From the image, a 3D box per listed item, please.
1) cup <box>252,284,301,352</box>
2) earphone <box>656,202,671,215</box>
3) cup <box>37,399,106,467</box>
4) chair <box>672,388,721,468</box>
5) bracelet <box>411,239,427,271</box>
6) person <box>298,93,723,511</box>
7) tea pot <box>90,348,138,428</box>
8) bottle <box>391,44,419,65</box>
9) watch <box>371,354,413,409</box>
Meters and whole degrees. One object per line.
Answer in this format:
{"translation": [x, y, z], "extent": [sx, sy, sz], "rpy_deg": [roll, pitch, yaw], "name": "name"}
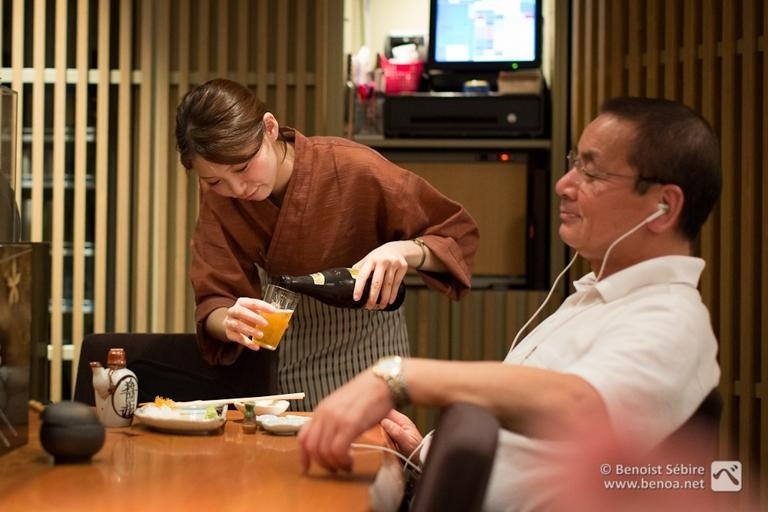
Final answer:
{"translation": [-0.328, 0.176, 2.280], "extent": [0.155, 0.190, 0.076], "rpy_deg": [6, 8, 37], "name": "cup"}
{"translation": [0.721, -0.126, 2.011], "extent": [0.020, 0.029, 0.027], "rpy_deg": [-10, -10, -43], "name": "earphone"}
{"translation": [-0.787, 0.440, 1.984], "extent": [0.170, 0.149, 0.165], "rpy_deg": [1, -7, 0], "name": "cup"}
{"translation": [0.773, 0.414, 1.939], "extent": [0.110, 0.229, 0.140], "rpy_deg": [6, -14, 4], "name": "chair"}
{"translation": [0.123, -0.016, 2.626], "extent": [0.023, 0.079, 0.075], "rpy_deg": [-2, 36, -33], "name": "bracelet"}
{"translation": [0.363, 0.092, 2.452], "extent": [0.974, 1.416, 1.099], "rpy_deg": [6, -10, 4], "name": "person"}
{"translation": [-0.751, 0.364, 2.185], "extent": [0.109, 0.208, 0.163], "rpy_deg": [0, -4, 19], "name": "tea pot"}
{"translation": [0.111, -1.020, 3.905], "extent": [0.142, 0.112, 0.132], "rpy_deg": [2, 6, 0], "name": "bottle"}
{"translation": [0.018, 0.276, 1.758], "extent": [0.076, 0.109, 0.104], "rpy_deg": [-4, 2, -3], "name": "watch"}
